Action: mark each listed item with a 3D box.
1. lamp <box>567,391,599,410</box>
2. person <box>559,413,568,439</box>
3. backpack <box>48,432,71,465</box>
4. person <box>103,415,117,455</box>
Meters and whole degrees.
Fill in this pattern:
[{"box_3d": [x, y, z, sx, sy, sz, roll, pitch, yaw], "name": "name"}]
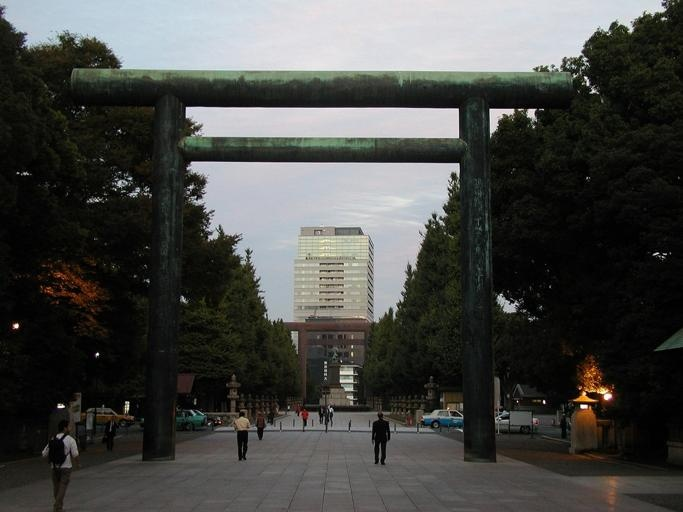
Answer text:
[{"box_3d": [11.436, 6.824, 37.767, 1.079, 0.930, 1.347, -3, -13, 7], "name": "lamp"}, {"box_3d": [13.636, 10.543, 49.477, 0.380, 1.474, 2.857, -4, -14, 13], "name": "person"}, {"box_3d": [-7.421, 5.128, 21.198, 0.459, 0.782, 0.510, 0, -5, 36], "name": "backpack"}, {"box_3d": [-10.826, 8.343, 37.576, 0.501, 1.572, 1.879, 2, -13, -16], "name": "person"}]
